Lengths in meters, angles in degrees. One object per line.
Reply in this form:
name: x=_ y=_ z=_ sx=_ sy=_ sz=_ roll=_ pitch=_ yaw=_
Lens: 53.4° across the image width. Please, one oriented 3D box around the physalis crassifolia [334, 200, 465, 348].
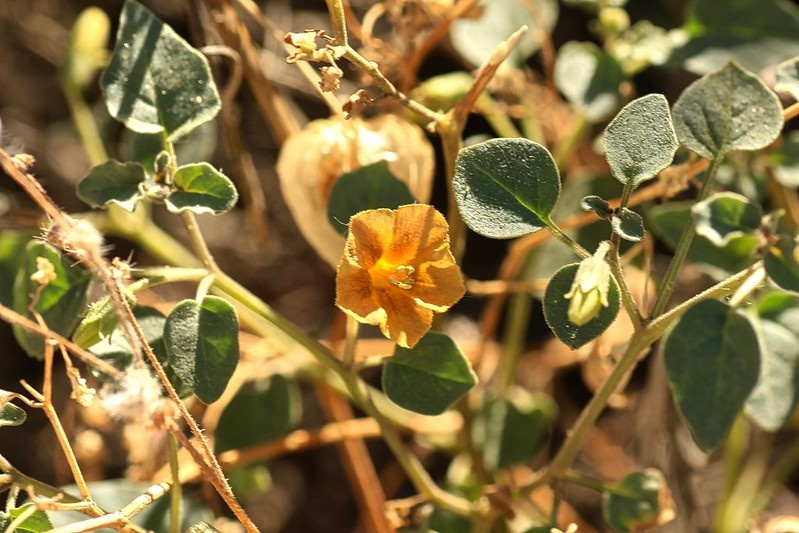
physalis crassifolia: x=-0.001 y=0.019 z=1.405 sx=0.239 sy=0.101 sz=0.240 roll=-8 pitch=83 yaw=-15
